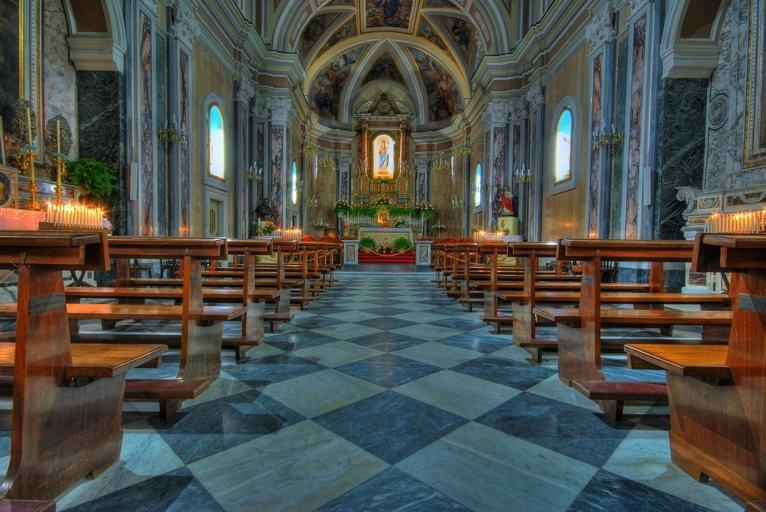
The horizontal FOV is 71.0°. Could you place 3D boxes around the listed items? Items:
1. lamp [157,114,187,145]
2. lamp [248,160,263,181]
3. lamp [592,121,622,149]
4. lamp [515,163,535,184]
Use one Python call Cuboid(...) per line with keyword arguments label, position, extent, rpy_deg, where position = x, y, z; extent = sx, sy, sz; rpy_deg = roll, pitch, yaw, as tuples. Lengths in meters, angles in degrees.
Cuboid(label="lamp", position=(-3.642, -2.159, 9.328), extent=(0.411, 0.498, 0.458), rpy_deg=(-2, 2, -9))
Cuboid(label="lamp", position=(-3.243, -2.222, 13.728), extent=(0.359, 0.553, 1.603), rpy_deg=(-2, 1, -12))
Cuboid(label="lamp", position=(3.973, -2.127, 9.468), extent=(0.289, 0.473, 0.704), rpy_deg=(2, 1, -6))
Cuboid(label="lamp", position=(3.520, -2.029, 13.350), extent=(0.546, 0.570, 0.526), rpy_deg=(0, 3, 12))
